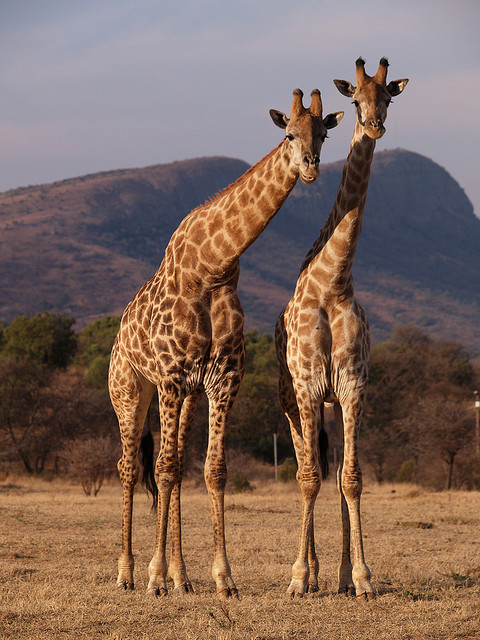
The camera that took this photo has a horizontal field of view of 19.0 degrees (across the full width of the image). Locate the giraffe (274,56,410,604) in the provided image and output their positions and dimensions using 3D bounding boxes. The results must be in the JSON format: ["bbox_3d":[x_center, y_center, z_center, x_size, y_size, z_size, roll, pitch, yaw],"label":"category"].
[{"bbox_3d":[1.430,0.145,21.402,1.586,7.960,2.610,-1,5,2],"label":"giraffe"}]
